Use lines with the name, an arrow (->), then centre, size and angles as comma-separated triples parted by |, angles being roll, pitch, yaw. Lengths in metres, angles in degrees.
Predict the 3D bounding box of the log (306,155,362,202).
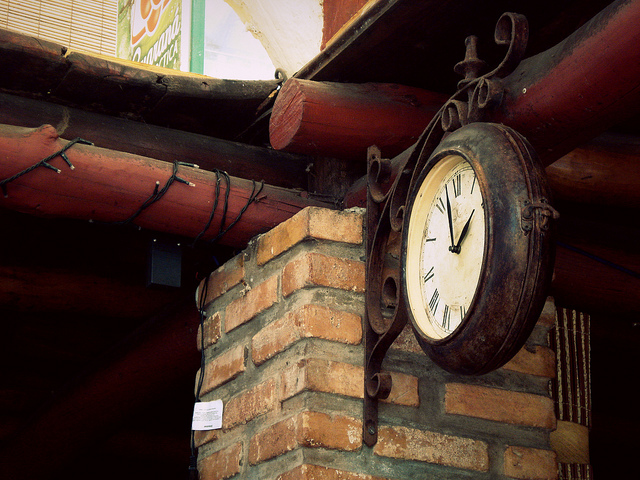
log -> 0.054, -0.226, 4.915 | 0.174, 0.187, 0.186 | 3, -4, -8

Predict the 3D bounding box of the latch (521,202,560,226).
latch -> 0.633, -0.089, 3.784 | 0.086, 0.069, 0.026 | -5, -8, 17

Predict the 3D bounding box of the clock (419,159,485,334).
clock -> 0.407, 0.029, 3.936 | 0.062, 0.575, 0.479 | 7, -6, -23

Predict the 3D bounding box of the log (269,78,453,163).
log -> 0.150, -0.385, 4.546 | 0.617, 0.254, 0.265 | 7, -19, -23
